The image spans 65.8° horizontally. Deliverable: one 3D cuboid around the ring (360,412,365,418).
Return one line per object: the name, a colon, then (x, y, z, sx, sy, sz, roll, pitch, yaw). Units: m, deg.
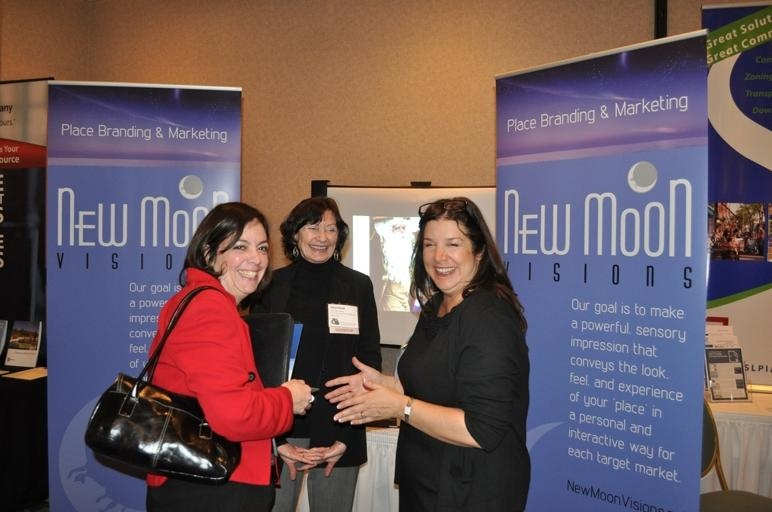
ring: (-0.133, 0.878, 3.293, 0.031, 0.041, 0.017, 8, -4, 0)

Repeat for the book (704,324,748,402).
book: (2.716, 0.846, 4.834, 0.444, 0.593, 0.226, 1, -1, -6)

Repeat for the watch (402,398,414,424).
watch: (0.111, 0.828, 3.210, 0.058, 0.095, 0.029, 1, -1, 29)

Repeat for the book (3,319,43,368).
book: (-2.931, 0.710, 4.804, 0.350, 0.418, 0.086, 1, -1, 0)
